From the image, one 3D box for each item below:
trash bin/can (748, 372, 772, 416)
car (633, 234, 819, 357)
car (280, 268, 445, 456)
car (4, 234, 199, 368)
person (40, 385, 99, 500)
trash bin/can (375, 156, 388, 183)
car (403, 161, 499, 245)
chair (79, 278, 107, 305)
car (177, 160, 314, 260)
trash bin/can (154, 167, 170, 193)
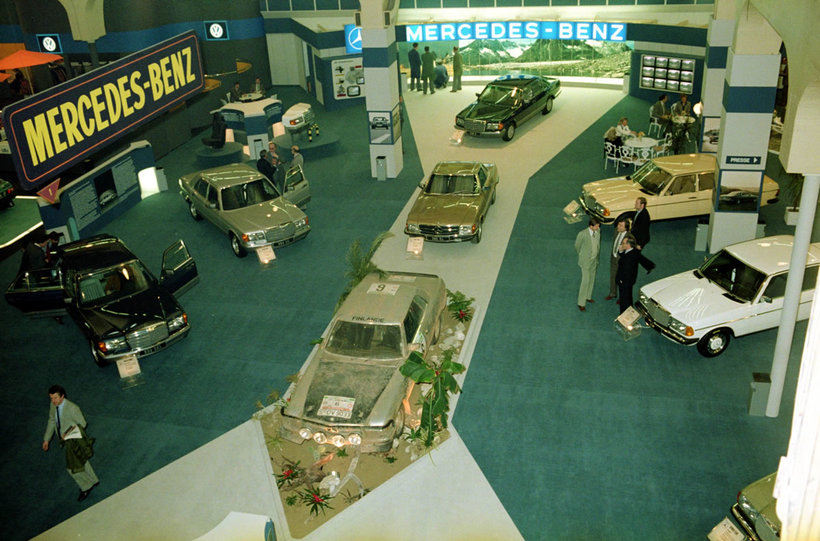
[{"bbox_3d":[6.576,2.331,11.725,0.413,0.658,0.659,0,31,22],"label":"trash bin/can"},{"bbox_3d":[6.559,0.591,12.944,3.203,0.996,1.448,-21,46,-3],"label":"car"},{"bbox_3d":[-0.621,1.403,13.073,2.374,1.521,4.989,8,36,17],"label":"car"},{"bbox_3d":[-6.851,0.437,14.281,3.198,1.190,3.541,-28,51,-32],"label":"car"},{"bbox_3d":[-6.020,3.060,11.125,0.676,2.085,0.652,-27,39,-32],"label":"person"},{"bbox_3d":[-0.946,-3.444,21.035,0.391,0.730,0.392,-5,32,-1],"label":"trash bin/can"},{"bbox_3d":[1.186,-1.799,17.579,1.875,1.461,3.172,8,34,18],"label":"car"},{"bbox_3d":[-7.134,0.423,14.051,0.533,0.336,0.473,-17,35,-21],"label":"chair"},{"bbox_3d":[-4.975,-1.660,18.221,1.994,1.283,4.210,-27,46,-30],"label":"car"},{"bbox_3d":[-8.408,-3.213,21.231,0.307,0.750,0.837,-10,33,-10],"label":"trash bin/can"}]
